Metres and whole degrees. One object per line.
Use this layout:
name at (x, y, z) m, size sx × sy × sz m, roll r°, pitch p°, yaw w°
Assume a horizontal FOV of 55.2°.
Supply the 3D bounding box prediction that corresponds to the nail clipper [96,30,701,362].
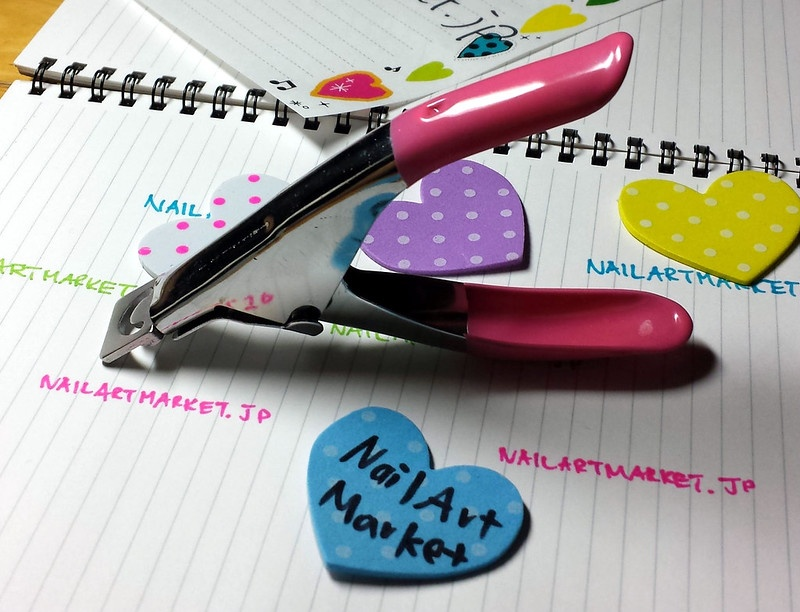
nail clipper at (-0.002, -0.085, 0.661) m, size 0.555 × 0.298 × 0.132 m, roll -5°, pitch 41°, yaw -4°
